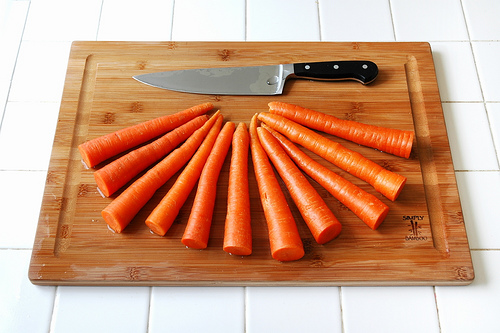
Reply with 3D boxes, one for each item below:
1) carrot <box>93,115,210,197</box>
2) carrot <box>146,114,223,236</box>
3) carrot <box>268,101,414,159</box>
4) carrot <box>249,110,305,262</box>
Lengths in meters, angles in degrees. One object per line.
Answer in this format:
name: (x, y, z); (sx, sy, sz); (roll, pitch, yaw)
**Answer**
carrot: (-0.475, -0.051, 1.874); (0.794, 0.163, 0.152); (-25, 77, -18)
carrot: (-0.256, 0.022, 1.790); (0.162, 0.124, 0.637); (35, 77, 21)
carrot: (0.304, -0.143, 1.761); (0.964, 0.196, 0.136); (1, 96, -29)
carrot: (0.107, 0.115, 1.772); (0.203, 0.136, 0.546); (-6, 59, 1)
